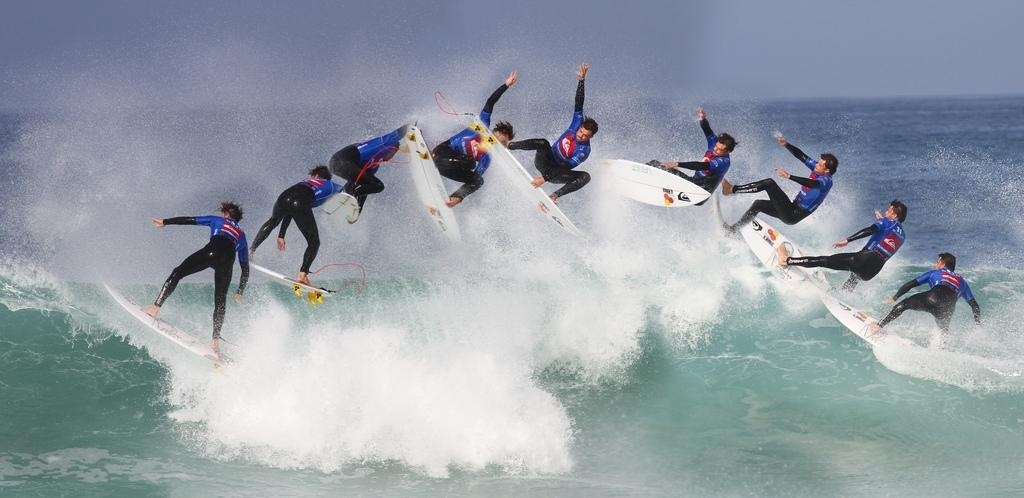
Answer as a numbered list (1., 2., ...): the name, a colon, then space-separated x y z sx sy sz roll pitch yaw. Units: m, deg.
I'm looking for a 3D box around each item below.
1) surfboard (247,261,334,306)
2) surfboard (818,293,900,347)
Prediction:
1. surfboard: -7.471 1.185 33.731 2.632 0.476 0.373 22 55 7
2. surfboard: 11.210 2.381 33.390 3.563 0.788 0.451 31 -14 30
